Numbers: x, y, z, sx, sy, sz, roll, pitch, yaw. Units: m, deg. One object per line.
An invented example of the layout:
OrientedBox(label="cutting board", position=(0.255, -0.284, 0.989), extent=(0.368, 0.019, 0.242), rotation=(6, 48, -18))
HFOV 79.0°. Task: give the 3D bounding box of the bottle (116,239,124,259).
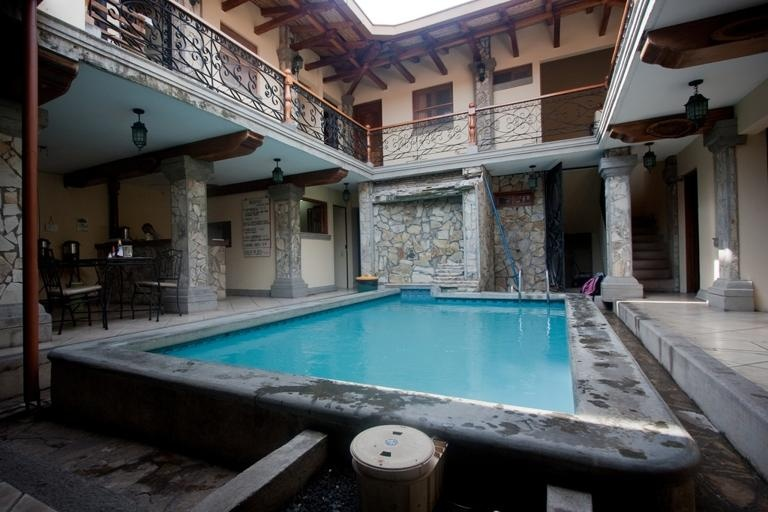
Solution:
OrientedBox(label="bottle", position=(-3.871, -0.103, 6.817), extent=(0.090, 0.196, 0.308), rotation=(-2, -1, -30))

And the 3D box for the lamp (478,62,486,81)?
OrientedBox(label="lamp", position=(2.457, -4.629, 11.814), extent=(0.212, 0.463, 0.114), rotation=(-3, -1, 37))

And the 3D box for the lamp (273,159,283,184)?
OrientedBox(label="lamp", position=(-2.251, -1.772, 9.812), extent=(0.168, 0.437, 0.622), rotation=(-3, -1, -9))

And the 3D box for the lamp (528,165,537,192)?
OrientedBox(label="lamp", position=(3.593, -1.856, 11.279), extent=(0.249, 0.620, 1.070), rotation=(-3, -2, 18))

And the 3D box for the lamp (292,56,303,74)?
OrientedBox(label="lamp", position=(-2.024, -4.470, 10.790), extent=(0.222, 0.430, 0.487), rotation=(-3, -1, -12))

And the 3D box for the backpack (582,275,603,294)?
OrientedBox(label="backpack", position=(4.440, 0.624, 9.910), extent=(0.164, 0.386, 0.134), rotation=(10, 17, -31))

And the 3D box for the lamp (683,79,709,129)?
OrientedBox(label="lamp", position=(4.366, -2.126, 6.518), extent=(0.237, 0.699, 0.436), rotation=(-3, -1, 28))

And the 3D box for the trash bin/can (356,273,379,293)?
OrientedBox(label="trash bin/can", position=(-0.390, 0.660, 11.205), extent=(0.543, 0.341, 0.515), rotation=(-1, 0, -22))
